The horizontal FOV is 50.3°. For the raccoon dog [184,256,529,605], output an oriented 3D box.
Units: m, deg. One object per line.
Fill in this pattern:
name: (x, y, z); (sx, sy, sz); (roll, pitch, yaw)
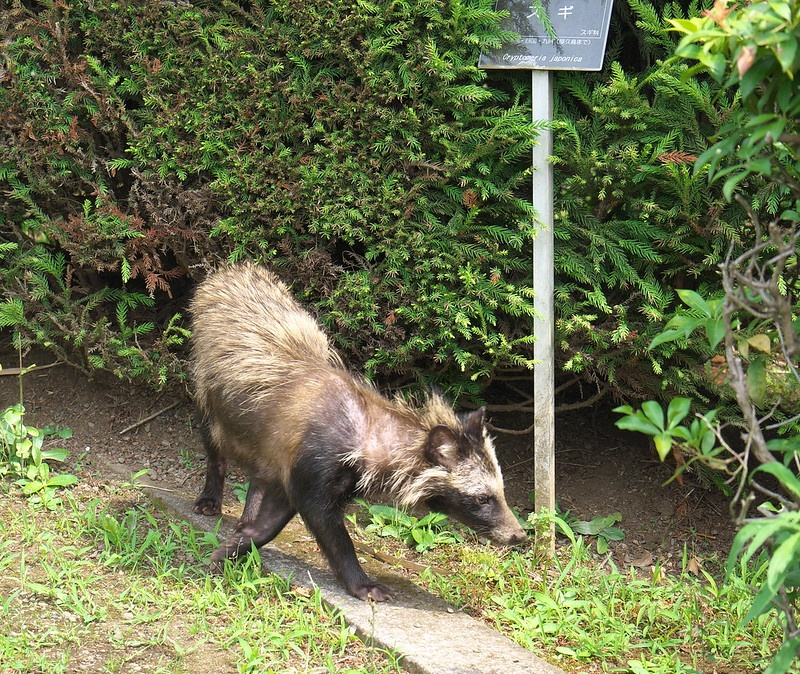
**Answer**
raccoon dog: (-0.412, 0.560, 5.254); (2.599, 1.339, 1.253); (27, 32, 16)
